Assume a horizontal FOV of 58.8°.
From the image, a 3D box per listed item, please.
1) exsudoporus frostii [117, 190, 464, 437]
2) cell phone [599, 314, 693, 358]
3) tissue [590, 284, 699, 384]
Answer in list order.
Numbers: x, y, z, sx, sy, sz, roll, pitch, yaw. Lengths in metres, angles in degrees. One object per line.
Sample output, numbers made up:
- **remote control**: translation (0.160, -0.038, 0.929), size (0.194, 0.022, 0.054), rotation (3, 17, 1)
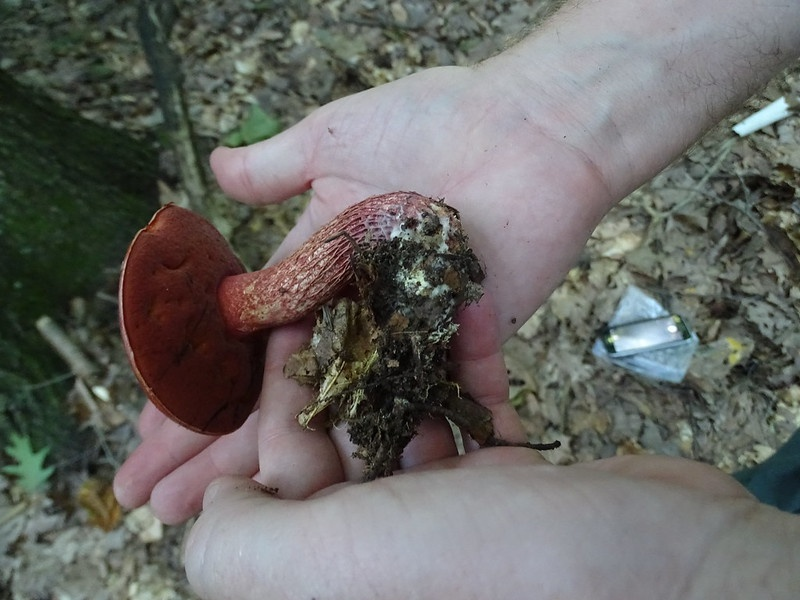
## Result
- **exsudoporus frostii**: translation (-0.585, -0.082, 3.155), size (1.457, 0.794, 0.942), rotation (-25, 83, 28)
- **cell phone**: translation (1.252, 0.181, 3.605), size (0.401, 0.100, 0.208), rotation (-14, 80, 17)
- **tissue**: translation (1.297, 0.184, 3.683), size (0.471, 0.109, 0.487), rotation (35, 101, 23)
